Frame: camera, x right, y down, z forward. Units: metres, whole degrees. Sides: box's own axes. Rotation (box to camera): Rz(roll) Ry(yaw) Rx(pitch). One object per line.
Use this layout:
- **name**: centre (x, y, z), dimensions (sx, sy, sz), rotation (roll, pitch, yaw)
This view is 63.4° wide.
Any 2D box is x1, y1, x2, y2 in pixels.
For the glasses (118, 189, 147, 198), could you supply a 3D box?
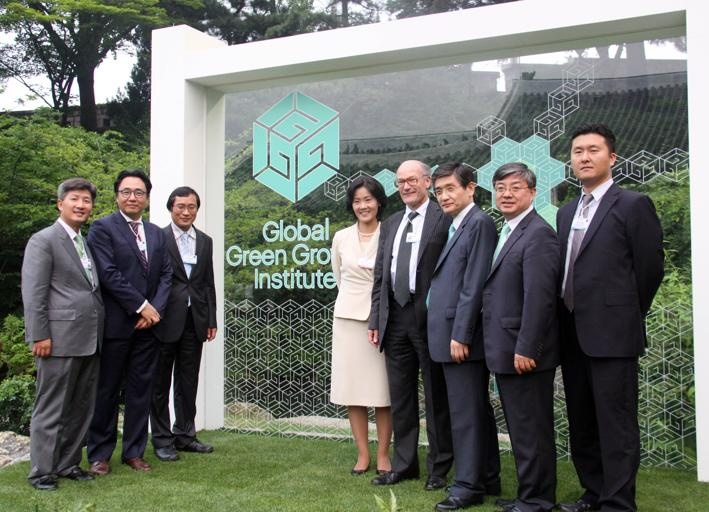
- **glasses**: centre (-1.900, -0.520, 4.924), dimensions (0.243, 0.104, 0.107), rotation (0, -1, -23)

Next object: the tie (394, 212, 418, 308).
- **tie**: centre (0.411, 0.014, 4.558), dimensions (0.168, 0.733, 0.108), rotation (0, -1, -40)

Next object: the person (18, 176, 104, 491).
- **person**: centre (-2.287, 0.714, 4.550), dimensions (0.569, 2.104, 0.349), rotation (0, -1, -35)

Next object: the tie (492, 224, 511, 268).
- **tie**: centre (1.042, -0.083, 4.114), dimensions (0.068, 0.057, 0.469), rotation (15, 40, 20)
